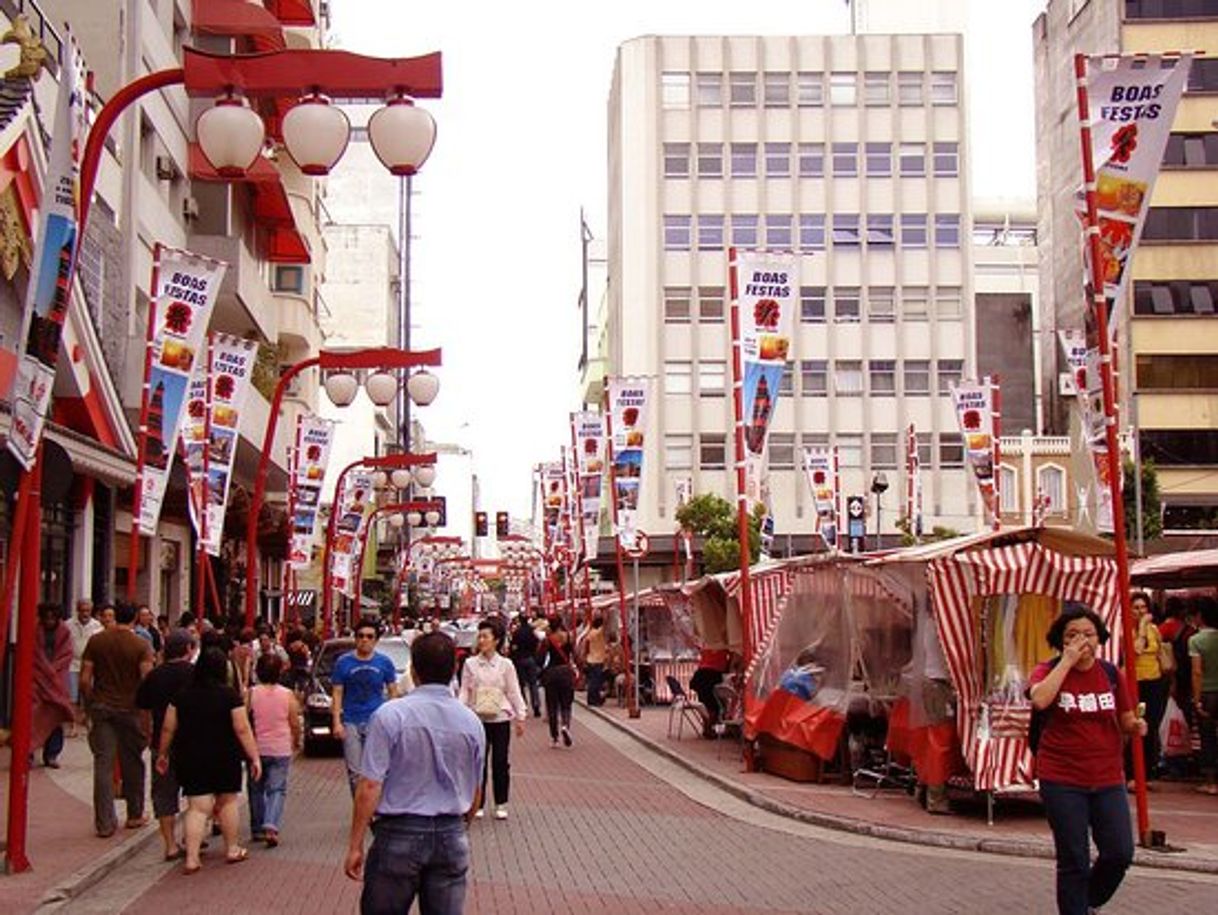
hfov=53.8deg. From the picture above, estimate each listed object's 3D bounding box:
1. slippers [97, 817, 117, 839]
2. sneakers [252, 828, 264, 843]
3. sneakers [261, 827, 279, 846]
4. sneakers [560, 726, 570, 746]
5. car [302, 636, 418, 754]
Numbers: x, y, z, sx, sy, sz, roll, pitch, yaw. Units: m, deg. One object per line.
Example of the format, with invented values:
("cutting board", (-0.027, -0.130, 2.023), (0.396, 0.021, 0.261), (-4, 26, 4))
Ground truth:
("slippers", (-5.397, 3.986, 12.918), (0.085, 0.222, 0.284), (2, -1, -2))
("sneakers", (-3.785, 4.087, 12.963), (0.129, 0.160, 0.147), (-1, -7, -3))
("sneakers", (-3.557, 4.020, 12.685), (0.093, 0.142, 0.301), (2, -18, 2))
("sneakers", (-0.833, 5.323, 22.725), (0.122, 0.411, 0.145), (-9, 11, 0))
("car", (-4.566, 4.260, 21.740), (1.686, 1.995, 3.892), (0, -10, -3))
